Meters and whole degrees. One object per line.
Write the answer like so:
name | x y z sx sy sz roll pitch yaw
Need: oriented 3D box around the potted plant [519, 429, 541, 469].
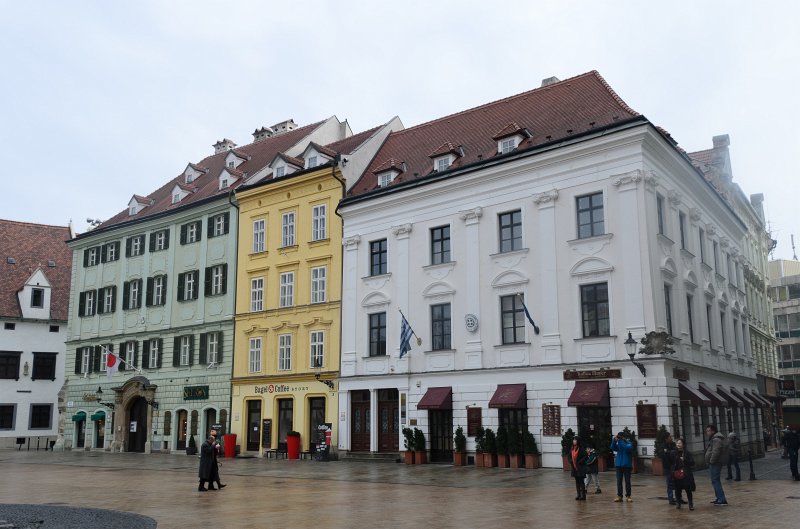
potted plant | 6.809 9.697 37.100 0.906 1.844 0.634 -5 -18 8

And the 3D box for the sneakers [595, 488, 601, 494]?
sneakers | 8.123 9.306 29.195 0.222 0.220 0.138 -5 -31 16

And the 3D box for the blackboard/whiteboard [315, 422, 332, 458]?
blackboard/whiteboard | -4.493 10.704 43.129 0.934 2.145 0.693 4 -19 -19

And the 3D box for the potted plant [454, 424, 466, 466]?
potted plant | 3.335 9.972 39.052 0.680 2.073 0.671 -4 -18 3

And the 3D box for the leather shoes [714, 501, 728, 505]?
leather shoes | 11.918 8.906 26.561 0.479 0.197 0.181 1 -22 6

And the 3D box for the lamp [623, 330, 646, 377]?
lamp | 11.580 4.392 35.192 0.748 2.229 1.508 -11 -20 24

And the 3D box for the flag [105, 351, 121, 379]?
flag | -21.176 7.551 53.214 0.249 2.275 2.094 -2 -4 13

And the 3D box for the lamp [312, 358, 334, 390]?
lamp | -4.794 6.798 44.682 1.529 2.191 0.820 -7 -19 14

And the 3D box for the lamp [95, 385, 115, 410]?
lamp | -22.187 10.162 54.245 0.732 1.805 2.543 4 -4 -26

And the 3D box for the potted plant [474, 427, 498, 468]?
potted plant | 4.658 9.782 37.954 1.238 1.931 0.559 -8 -19 16

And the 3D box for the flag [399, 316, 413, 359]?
flag | 0.368 4.191 42.029 0.841 2.296 0.939 11 -23 -35

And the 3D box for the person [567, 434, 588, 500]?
person | 6.987 7.921 27.741 0.646 2.440 0.965 -6 -19 11

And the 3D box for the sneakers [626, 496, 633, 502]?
sneakers | 8.767 8.998 27.257 0.123 0.157 0.371 -5 -24 -1

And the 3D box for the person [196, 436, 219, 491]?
person | -8.014 8.410 30.202 0.726 2.337 1.547 2 -19 -14

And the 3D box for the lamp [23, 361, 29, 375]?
lamp | -32.821 9.248 63.222 0.622 1.241 0.201 14 -25 -41

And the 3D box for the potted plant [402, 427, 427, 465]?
potted plant | 0.932 10.250 40.307 1.252 1.991 0.692 -2 -18 -1

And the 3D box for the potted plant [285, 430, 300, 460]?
potted plant | -6.479 11.229 44.134 0.732 1.690 0.706 1 -19 -12

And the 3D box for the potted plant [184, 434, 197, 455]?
potted plant | -14.027 12.292 48.651 0.671 1.361 1.203 3 -19 -16
